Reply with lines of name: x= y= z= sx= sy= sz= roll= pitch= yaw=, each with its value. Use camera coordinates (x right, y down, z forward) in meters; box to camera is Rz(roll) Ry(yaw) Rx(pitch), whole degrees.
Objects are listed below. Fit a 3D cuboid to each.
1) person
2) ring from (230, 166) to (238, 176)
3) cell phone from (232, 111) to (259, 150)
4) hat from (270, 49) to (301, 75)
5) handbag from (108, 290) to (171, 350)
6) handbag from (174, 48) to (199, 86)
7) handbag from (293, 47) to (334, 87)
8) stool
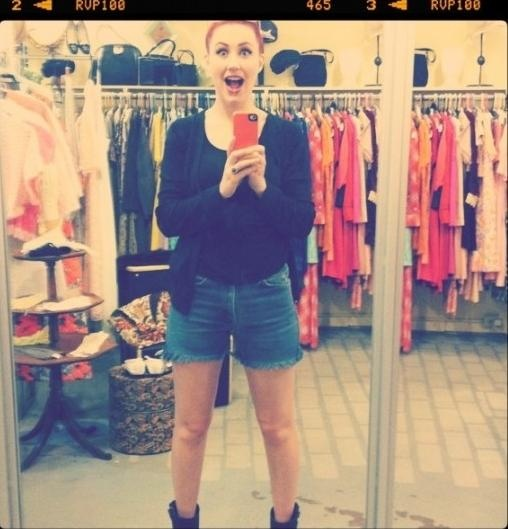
person: x=-0.060 y=0.083 z=1.761 sx=0.500 sy=1.712 sz=0.200 roll=1 pitch=9 yaw=7
ring: x=-0.060 y=-0.286 z=1.611 sx=0.024 sy=0.028 sz=0.006 roll=2 pitch=6 yaw=16
cell phone: x=-0.027 y=-0.404 z=1.618 sx=0.073 sy=0.106 sz=0.087 roll=-1 pitch=9 yaw=-3
hat: x=0.103 y=-0.665 z=1.726 sx=0.087 sy=0.070 sz=0.029 roll=-20 pitch=-19 yaw=2
handbag: x=-0.398 y=0.201 z=1.913 sx=0.192 sy=0.079 sz=0.198 roll=-8 pitch=24 yaw=-27
handbag: x=-0.215 y=-0.645 z=1.717 sx=0.085 sy=0.137 sz=0.053 roll=6 pitch=44 yaw=0
handbag: x=0.195 y=-0.651 z=1.745 sx=0.115 sy=0.126 sz=0.090 roll=-2 pitch=24 yaw=0
stool: x=-0.422 y=0.550 z=2.102 sx=0.263 sy=0.337 sz=0.279 roll=1 pitch=-5 yaw=-13
